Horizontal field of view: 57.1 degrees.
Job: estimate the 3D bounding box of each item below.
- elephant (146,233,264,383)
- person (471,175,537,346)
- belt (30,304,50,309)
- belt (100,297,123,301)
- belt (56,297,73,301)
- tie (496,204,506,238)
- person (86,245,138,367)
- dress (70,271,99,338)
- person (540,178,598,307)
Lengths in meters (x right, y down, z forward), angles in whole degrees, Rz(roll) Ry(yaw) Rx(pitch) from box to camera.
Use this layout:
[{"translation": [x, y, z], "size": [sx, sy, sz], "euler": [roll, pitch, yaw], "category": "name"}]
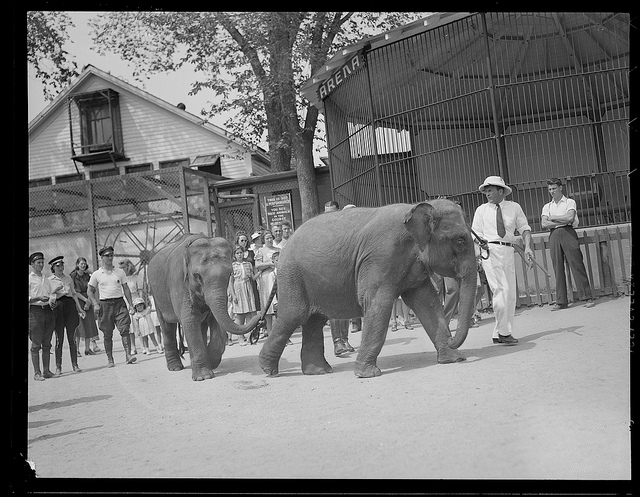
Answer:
[{"translation": [-1.822, 0.939, 8.994], "size": [1.025, 2.112, 3.471], "euler": [-3, 2, -27], "category": "elephant"}, {"translation": [2.534, 0.128, 8.247], "size": [0.680, 1.782, 0.876], "euler": [-5, 3, 40], "category": "person"}, {"translation": [-4.521, 0.935, 9.611], "size": [0.065, 0.086, 0.288], "euler": [-5, 4, 41], "category": "belt"}, {"translation": [-3.753, 0.914, 10.583], "size": [0.307, 0.057, 0.071], "euler": [-9, 3, -14], "category": "belt"}, {"translation": [-4.468, 0.875, 10.395], "size": [0.042, 0.059, 0.303], "euler": [-6, 3, 29], "category": "belt"}, {"translation": [2.515, -0.403, 8.256], "size": [0.110, 0.347, 0.256], "euler": [-6, 2, 18], "category": "tie"}, {"translation": [-3.777, 1.032, 10.790], "size": [0.734, 2.279, 1.028], "euler": [-8, 2, -20], "category": "person"}, {"translation": [-4.946, 1.195, 12.393], "size": [0.403, 1.514, 0.959], "euler": [-8, 2, -22], "category": "dress"}, {"translation": [4.382, -0.127, 10.510], "size": [0.760, 1.600, 1.375], "euler": [-6, 3, 24], "category": "person"}]
